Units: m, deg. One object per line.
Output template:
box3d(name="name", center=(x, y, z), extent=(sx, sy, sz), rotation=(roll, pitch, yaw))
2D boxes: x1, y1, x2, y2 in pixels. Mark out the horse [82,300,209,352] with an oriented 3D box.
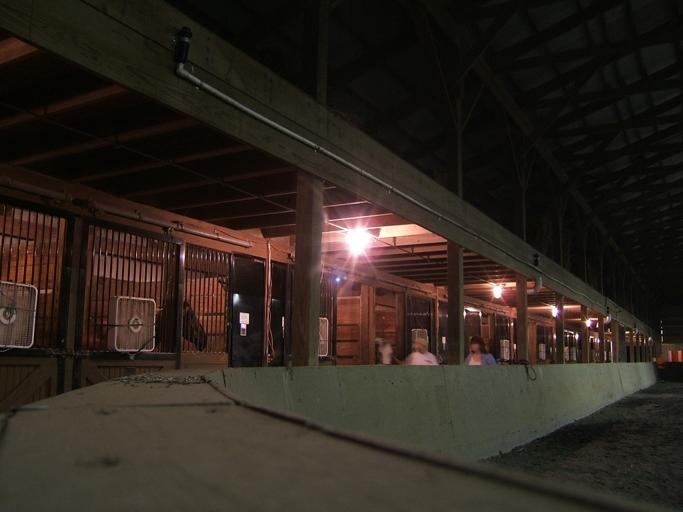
box3d(name="horse", center=(-2.847, 1.045, 8.155), extent=(1.587, 0.803, 0.288), rotation=(1, -4, 19))
